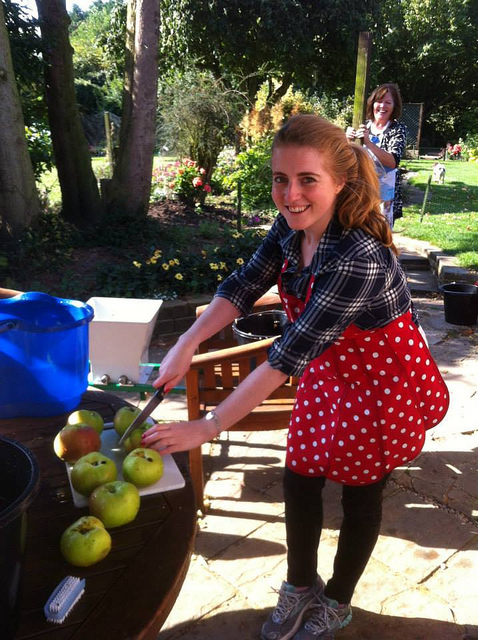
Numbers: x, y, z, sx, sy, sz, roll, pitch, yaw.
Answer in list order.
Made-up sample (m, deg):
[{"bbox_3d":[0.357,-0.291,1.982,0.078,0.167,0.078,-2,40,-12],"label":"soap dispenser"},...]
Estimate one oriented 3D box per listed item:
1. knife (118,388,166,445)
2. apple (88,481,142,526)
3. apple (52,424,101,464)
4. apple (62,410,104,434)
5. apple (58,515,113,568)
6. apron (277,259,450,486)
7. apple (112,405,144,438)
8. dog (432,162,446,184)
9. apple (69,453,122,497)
[{"bbox_3d":[-0.269,0.269,1.516,0.123,0.137,0.110,3,13,-8],"label":"knife"},{"bbox_3d":[-0.302,0.431,1.248,0.129,0.084,0.125,15,-7,-2],"label":"apple"},{"bbox_3d":[-0.429,0.331,1.454,0.129,0.088,0.126,-2,9,-26],"label":"apple"},{"bbox_3d":[-0.439,0.279,1.536,0.090,0.076,0.083,4,5,-13],"label":"apple"},{"bbox_3d":[-0.304,0.450,1.101,0.100,0.066,0.087,6,20,12],"label":"apple"},{"bbox_3d":[0.368,0.101,1.776,0.538,0.700,0.439,-7,18,-42],"label":"apron"},{"bbox_3d":[-0.304,0.282,1.538,0.099,0.085,0.091,0,11,1],"label":"apple"},{"bbox_3d":[6.275,-4.594,16.881,0.421,0.615,0.920,11,18,17],"label":"dog"},{"bbox_3d":[-0.350,0.371,1.344,0.106,0.096,0.110,16,23,41],"label":"apple"}]
